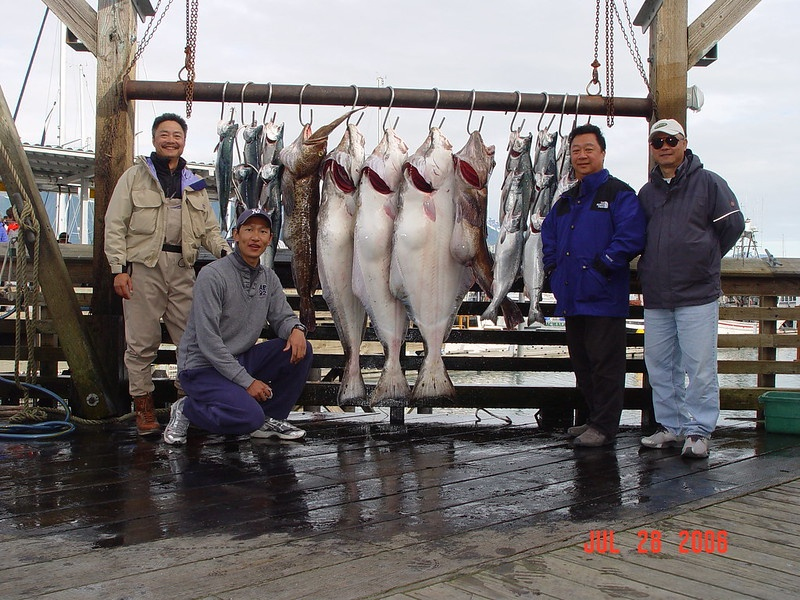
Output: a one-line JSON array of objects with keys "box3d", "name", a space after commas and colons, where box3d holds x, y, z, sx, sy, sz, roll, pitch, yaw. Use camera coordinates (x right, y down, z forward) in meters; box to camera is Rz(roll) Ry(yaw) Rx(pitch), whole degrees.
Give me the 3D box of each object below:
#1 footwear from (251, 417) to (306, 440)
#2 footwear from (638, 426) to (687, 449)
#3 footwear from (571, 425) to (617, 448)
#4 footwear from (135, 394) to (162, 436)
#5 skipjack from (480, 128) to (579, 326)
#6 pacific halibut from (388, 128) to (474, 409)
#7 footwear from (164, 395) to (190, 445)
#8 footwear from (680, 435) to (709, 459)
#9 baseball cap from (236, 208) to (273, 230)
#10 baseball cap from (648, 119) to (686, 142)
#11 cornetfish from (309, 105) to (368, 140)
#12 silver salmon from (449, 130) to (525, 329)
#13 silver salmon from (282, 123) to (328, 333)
[{"box3d": [-0.771, 0.823, 5.074, 0.378, 0.179, 0.131, 1, -3, 2], "name": "footwear"}, {"box3d": [1.622, 0.858, 4.860, 0.295, 0.137, 0.107, 1, -3, -11], "name": "footwear"}, {"box3d": [1.199, 0.860, 4.891, 0.284, 0.115, 0.102, 2, -2, -17], "name": "footwear"}, {"box3d": [-1.682, 0.752, 5.203, 0.115, 0.230, 0.341, -4, 11, -26], "name": "footwear"}, {"box3d": [0.861, -0.476, 5.064, 0.248, 1.352, 0.626, 1, -1, -7], "name": "skipjack"}, {"box3d": [0.230, -0.210, 5.124, 0.545, 1.656, 0.482, 3, 14, -24], "name": "pacific halibut"}, {"box3d": [-1.394, 0.784, 4.903, 0.117, 0.340, 0.135, 24, -43, -39], "name": "footwear"}, {"box3d": [1.715, 0.856, 4.550, 0.095, 0.089, 0.215, -3, -10, 24], "name": "footwear"}, {"box3d": [-0.894, -0.506, 4.829, 0.205, 0.112, 0.181, -1, 5, -12], "name": "baseball cap"}, {"box3d": [1.631, -1.048, 4.744, 0.254, 0.126, 0.155, -5, 7, -44], "name": "baseball cap"}, {"box3d": [-0.407, -1.112, 4.890, 0.297, 0.213, 0.766, -1, 5, -11], "name": "cornetfish"}, {"box3d": [0.485, -0.571, 5.228, 0.283, 1.105, 0.228, 0, 5, -2], "name": "silver salmon"}, {"box3d": [-0.622, -0.496, 5.237, 0.330, 1.401, 0.356, 2, 13, -23], "name": "silver salmon"}]
